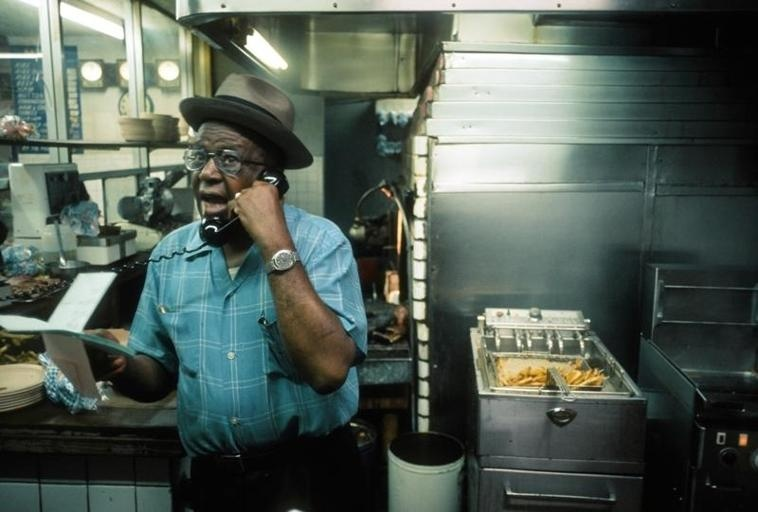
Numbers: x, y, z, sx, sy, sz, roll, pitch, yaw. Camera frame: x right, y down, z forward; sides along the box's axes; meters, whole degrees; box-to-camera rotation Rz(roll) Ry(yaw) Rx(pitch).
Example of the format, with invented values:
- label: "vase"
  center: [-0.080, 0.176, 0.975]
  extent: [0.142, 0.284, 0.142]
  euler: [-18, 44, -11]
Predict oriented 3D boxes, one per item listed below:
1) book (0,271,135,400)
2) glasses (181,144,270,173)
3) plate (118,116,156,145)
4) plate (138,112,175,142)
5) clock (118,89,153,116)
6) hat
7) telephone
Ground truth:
- label: "book"
  center: [-1.413, 0.366, 3.046]
  extent: [0.572, 0.251, 0.598]
  euler: [27, -27, -26]
- label: "glasses"
  center: [-0.734, -0.448, 3.163]
  extent: [0.394, 0.141, 0.144]
  euler: [0, 7, -2]
- label: "plate"
  center: [-2.010, -1.013, 5.553]
  extent: [0.248, 0.182, 0.247]
  euler: [2, 12, -2]
- label: "plate"
  center: [-1.945, -1.121, 5.958]
  extent: [0.271, 0.203, 0.276]
  euler: [6, 9, 27]
- label: "clock"
  center: [-2.598, -1.579, 7.003]
  extent: [0.077, 0.315, 0.323]
  euler: [16, 17, 40]
- label: "hat"
  center: [-0.635, -0.714, 3.326]
  extent: [0.695, 0.261, 0.633]
  euler: [14, -6, -8]
- label: "telephone"
  center: [-0.637, -0.219, 3.153]
  extent: [0.411, 0.361, 0.252]
  euler: [-1, 7, -11]
